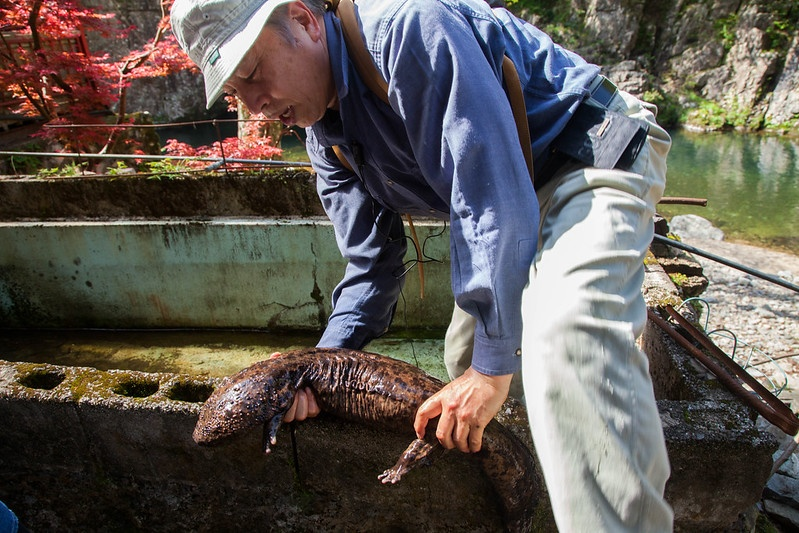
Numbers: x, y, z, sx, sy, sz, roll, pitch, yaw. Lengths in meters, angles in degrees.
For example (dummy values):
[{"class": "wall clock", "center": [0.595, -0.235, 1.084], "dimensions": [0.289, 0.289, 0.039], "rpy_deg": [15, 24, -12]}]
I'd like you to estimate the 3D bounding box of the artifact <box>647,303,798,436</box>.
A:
[{"class": "artifact", "center": [3.099, 1.021, 6.438], "dimensions": [0.232, 0.433, 1.795], "rpy_deg": [32, 15, -32]}]
